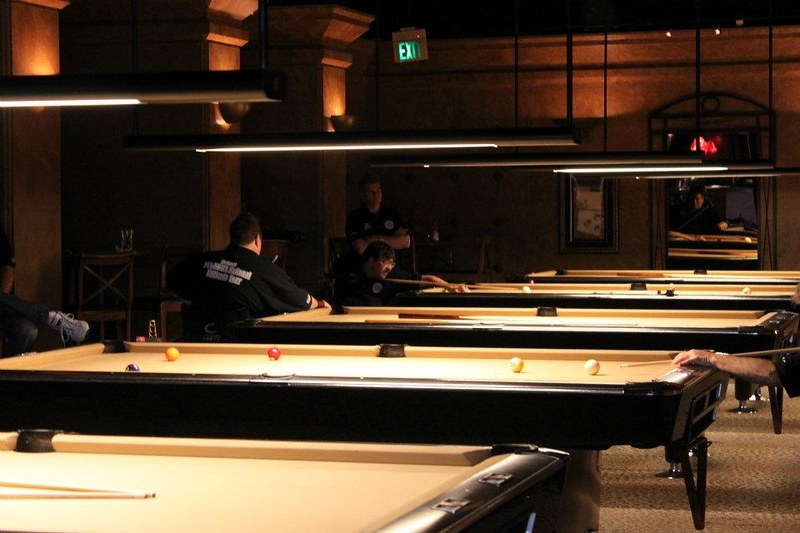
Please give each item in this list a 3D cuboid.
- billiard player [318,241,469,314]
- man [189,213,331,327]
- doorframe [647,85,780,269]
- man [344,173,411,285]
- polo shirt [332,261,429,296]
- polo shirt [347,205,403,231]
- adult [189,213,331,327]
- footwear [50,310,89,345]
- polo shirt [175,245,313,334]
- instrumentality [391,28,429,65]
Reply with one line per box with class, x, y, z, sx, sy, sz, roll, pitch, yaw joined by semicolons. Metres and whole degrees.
billiard player;-0.117;0.093;8.314;0.903;0.500;0.679;1;5;16
man;-1.142;0.058;6.734;0.949;0.854;0.284;0;15;-13
doorframe;4.225;-1.062;12.285;1.745;2.961;0.063;0;-15;20
man;-0.232;-0.188;9.313;0.687;1.399;0.504;-9;17;-18
polo shirt;-0.260;0.144;8.405;0.574;0.198;0.433;2;-3;6
polo shirt;-0.249;-0.471;9.202;0.521;0.239;0.269;0;-6;-11
adult;-1.215;0.013;7.825;0.888;1.053;0.614;12;20;18
footwear;-2.707;0.485;7.383;0.435;0.153;0.197;22;3;15
polo shirt;-1.179;0.079;6.911;1.187;0.833;0.634;7;7;18
instrumentality;0.084;-1.807;7.331;0.266;0.260;0.439;3;13;-1
